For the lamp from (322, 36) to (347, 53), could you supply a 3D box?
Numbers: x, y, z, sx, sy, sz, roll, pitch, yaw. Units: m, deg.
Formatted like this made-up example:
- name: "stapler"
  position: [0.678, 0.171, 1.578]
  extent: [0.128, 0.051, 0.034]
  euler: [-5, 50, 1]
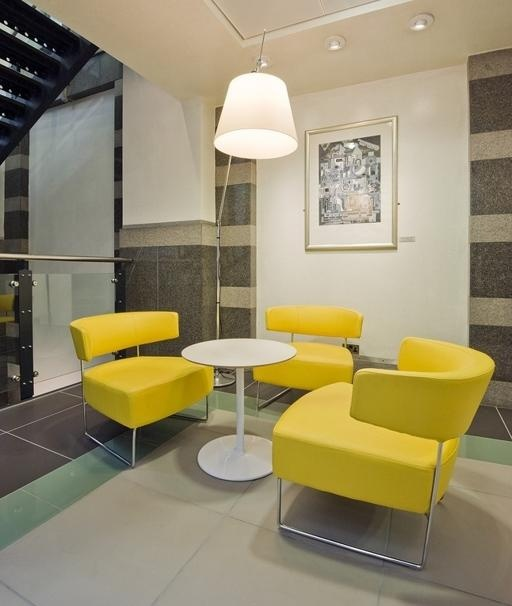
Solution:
- name: "lamp"
  position: [0.526, -1.740, 3.130]
  extent: [0.128, 0.041, 0.197]
  euler: [2, 13, 7]

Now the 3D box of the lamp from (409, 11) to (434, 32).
- name: "lamp"
  position: [1.020, -1.745, 2.899]
  extent: [0.138, 0.049, 0.197]
  euler: [5, 14, 18]

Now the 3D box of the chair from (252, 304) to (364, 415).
- name: "chair"
  position: [0.402, 0.405, 3.353]
  extent: [0.750, 0.676, 0.652]
  euler: [5, 10, 32]

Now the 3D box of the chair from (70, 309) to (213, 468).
- name: "chair"
  position: [-0.689, 0.444, 2.824]
  extent: [0.685, 0.704, 0.742]
  euler: [9, 13, 39]

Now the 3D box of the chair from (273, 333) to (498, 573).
- name: "chair"
  position: [0.533, 0.591, 2.056]
  extent: [0.835, 0.791, 0.778]
  euler: [3, 8, 18]
